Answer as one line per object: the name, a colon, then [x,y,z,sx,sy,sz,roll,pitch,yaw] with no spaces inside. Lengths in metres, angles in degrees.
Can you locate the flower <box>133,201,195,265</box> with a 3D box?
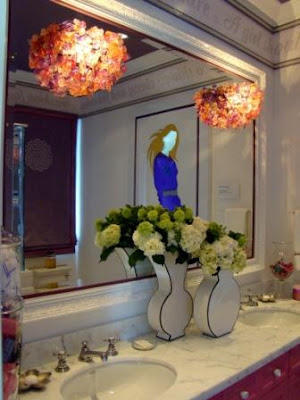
flower: [0.050,0.124,1.332,0.277,0.255,0.198,-1,9,-15]
